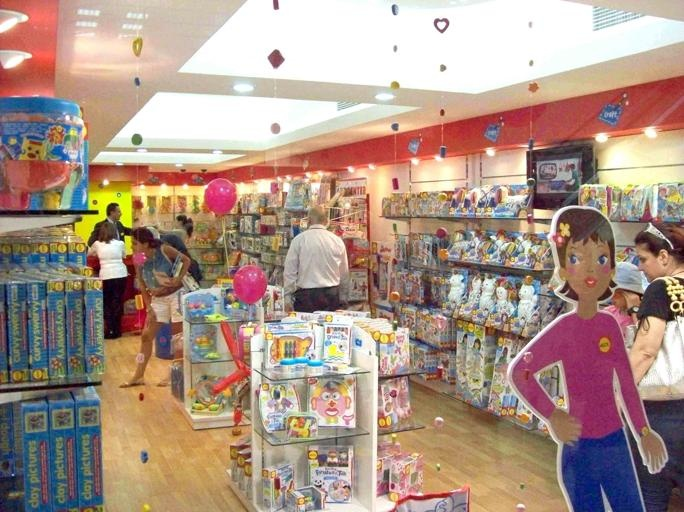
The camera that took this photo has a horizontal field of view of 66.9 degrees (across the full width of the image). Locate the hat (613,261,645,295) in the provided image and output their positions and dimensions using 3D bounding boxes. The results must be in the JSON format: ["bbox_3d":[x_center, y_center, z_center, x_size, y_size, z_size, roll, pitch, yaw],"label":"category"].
[{"bbox_3d":[1.594,0.112,2.895,0.155,0.085,0.184,11,8,9],"label":"hat"}]

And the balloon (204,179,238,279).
[{"bbox_3d":[-1.009,-0.202,4.436,0.234,0.961,0.239,-5,23,-10],"label":"balloon"}]

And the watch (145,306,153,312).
[{"bbox_3d":[-2.294,0.634,6.186,0.066,0.073,0.068,-5,-9,34],"label":"watch"}]

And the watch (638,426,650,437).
[{"bbox_3d":[1.714,0.993,2.929,0.048,0.050,0.012,-2,-7,1],"label":"watch"}]

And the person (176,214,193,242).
[{"bbox_3d":[-2.741,-0.495,9.062,0.334,0.338,1.012,-19,15,-9],"label":"person"}]

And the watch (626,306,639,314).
[{"bbox_3d":[1.596,0.297,2.850,0.039,0.043,0.039,2,-9,-32],"label":"watch"}]

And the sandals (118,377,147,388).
[{"bbox_3d":[-2.591,1.582,6.454,0.306,0.136,0.114,5,-3,-15],"label":"sandals"}]

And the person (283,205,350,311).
[{"bbox_3d":[-0.279,0.034,5.719,0.704,1.178,0.410,-1,6,-4],"label":"person"}]
